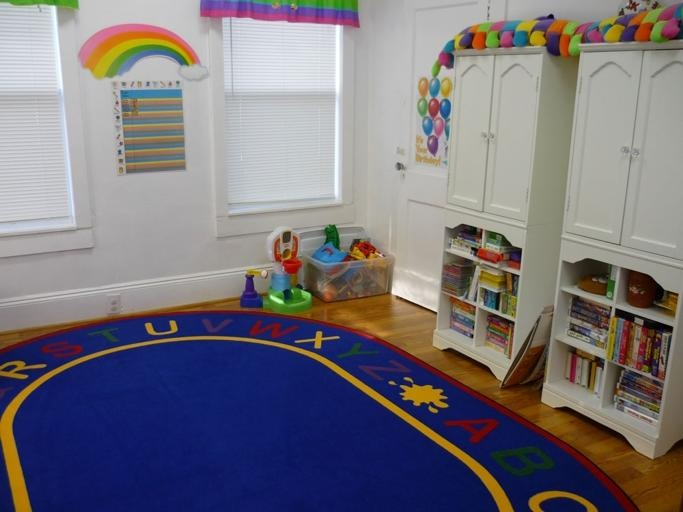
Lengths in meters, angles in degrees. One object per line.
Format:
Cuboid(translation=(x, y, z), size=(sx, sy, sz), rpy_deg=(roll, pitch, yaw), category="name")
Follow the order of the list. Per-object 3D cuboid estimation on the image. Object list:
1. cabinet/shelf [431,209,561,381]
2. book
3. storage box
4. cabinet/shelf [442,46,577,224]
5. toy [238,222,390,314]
Cuboid(translation=(1.175, 0.299, 3.567), size=(0.410, 1.382, 0.860), rpy_deg=(-3, 18, -26), category="cabinet/shelf")
Cuboid(translation=(1.460, 0.485, 3.148), size=(0.276, 0.781, 1.075), rpy_deg=(5, 13, -34), category="book")
Cuboid(translation=(0.086, 0.207, 5.059), size=(0.729, 0.354, 0.489), rpy_deg=(-6, 13, -27), category="storage box")
Cuboid(translation=(1.188, -0.844, 3.312), size=(0.505, 1.423, 1.013), rpy_deg=(-7, 15, -29), category="cabinet/shelf")
Cuboid(translation=(-0.297, 0.062, 4.955), size=(1.597, 0.833, 0.679), rpy_deg=(-13, 20, -28), category="toy")
